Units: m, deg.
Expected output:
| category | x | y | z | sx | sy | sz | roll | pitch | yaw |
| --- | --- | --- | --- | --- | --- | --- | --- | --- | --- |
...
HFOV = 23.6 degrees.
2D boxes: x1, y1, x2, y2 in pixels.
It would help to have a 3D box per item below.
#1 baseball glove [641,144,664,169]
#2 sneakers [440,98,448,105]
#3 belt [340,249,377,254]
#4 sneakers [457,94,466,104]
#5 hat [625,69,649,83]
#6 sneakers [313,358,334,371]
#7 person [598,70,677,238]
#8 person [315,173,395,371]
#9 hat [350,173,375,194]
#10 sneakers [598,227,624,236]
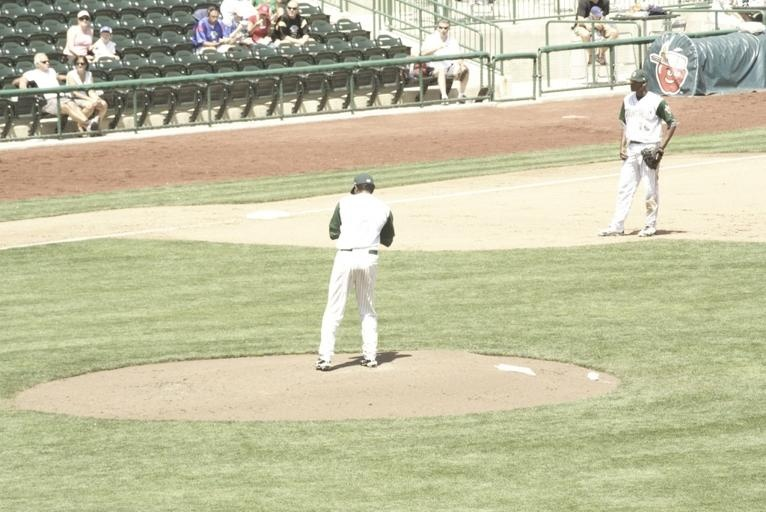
| category | x | y | z | sx | sy | sz | roll | pitch | yaw |
| --- | --- | --- | --- | --- | --- | --- | --- | --- | --- |
| baseball glove | 4.169 | -1.522 | 28.657 | 0.288 | 0.326 | 0.175 | 4 | 11 | 3 |
| sneakers | 1.399 | -3.512 | 41.888 | 0.164 | 0.141 | 0.157 | -2 | -5 | 34 |
| belt | -0.359 | -0.041 | 25.196 | 0.520 | 0.096 | 0.150 | 1 | 7 | 0 |
| sneakers | 1.784 | -3.587 | 42.110 | 0.204 | 0.103 | 0.186 | -1 | 26 | -3 |
| hat | 3.987 | -2.796 | 28.706 | 0.198 | 0.140 | 0.286 | 3 | 3 | 41 |
| sneakers | -0.826 | 1.553 | 25.475 | 0.169 | 0.129 | 0.199 | 5 | 9 | -4 |
| person | 4.020 | -1.576 | 29.058 | 1.043 | 2.683 | 0.848 | 2 | 8 | 6 |
| person | -0.394 | 0.260 | 25.390 | 1.041 | 2.745 | 0.470 | 0 | 8 | -5 |
| hat | -0.269 | -0.992 | 25.423 | 0.263 | 0.187 | 0.353 | 0 | 2 | -6 |
| sneakers | 3.617 | -0.364 | 29.454 | 0.414 | 0.161 | 0.143 | 2 | 4 | 0 |
